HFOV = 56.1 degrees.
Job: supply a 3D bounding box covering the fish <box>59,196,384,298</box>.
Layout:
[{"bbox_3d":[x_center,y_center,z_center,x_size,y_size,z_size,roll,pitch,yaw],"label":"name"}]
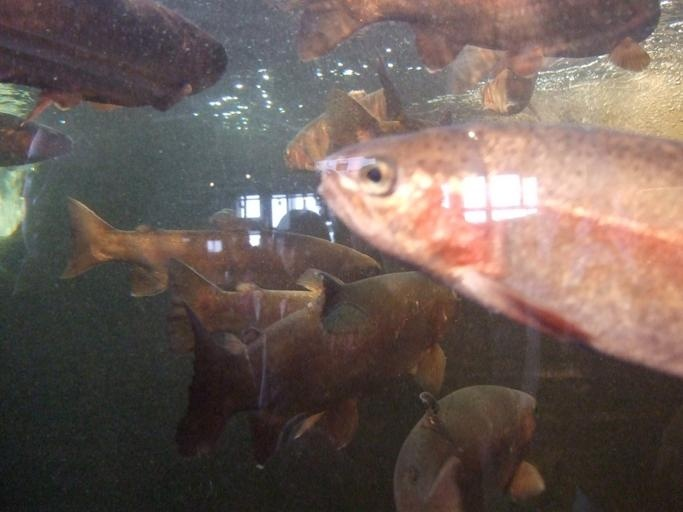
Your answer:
[{"bbox_3d":[-0.178,0.004,0.998,0.471,0.155,0.086,3,44,-17],"label":"fish"}]
